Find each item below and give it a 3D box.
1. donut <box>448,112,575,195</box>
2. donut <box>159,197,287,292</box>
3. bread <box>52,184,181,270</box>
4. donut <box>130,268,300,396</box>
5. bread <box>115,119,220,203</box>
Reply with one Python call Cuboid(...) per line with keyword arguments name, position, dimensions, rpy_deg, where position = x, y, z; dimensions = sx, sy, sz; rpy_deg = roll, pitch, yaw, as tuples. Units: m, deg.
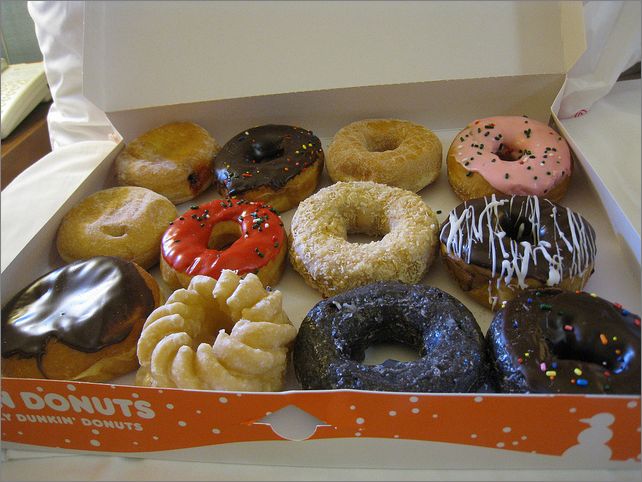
Cuboid(name="donut", position=(0.869, -0.367, 2.719), dimensions=(0.531, 0.215, 0.506), rpy_deg=(-6, 48, -6))
Cuboid(name="donut", position=(-0.393, 0.025, 2.561), dimensions=(0.517, 0.205, 0.560), rpy_deg=(-17, 40, -14))
Cuboid(name="bread", position=(-0.952, -0.043, 2.736), dimensions=(0.520, 0.552, 0.195), rpy_deg=(-7, 72, 6))
Cuboid(name="donut", position=(-0.447, 0.282, 2.184), dimensions=(0.472, 0.185, 0.515), rpy_deg=(-27, 29, 21))
Cuboid(name="bread", position=(-0.828, -0.447, 2.964), dimensions=(0.547, 0.212, 0.571), rpy_deg=(40, 37, 27))
